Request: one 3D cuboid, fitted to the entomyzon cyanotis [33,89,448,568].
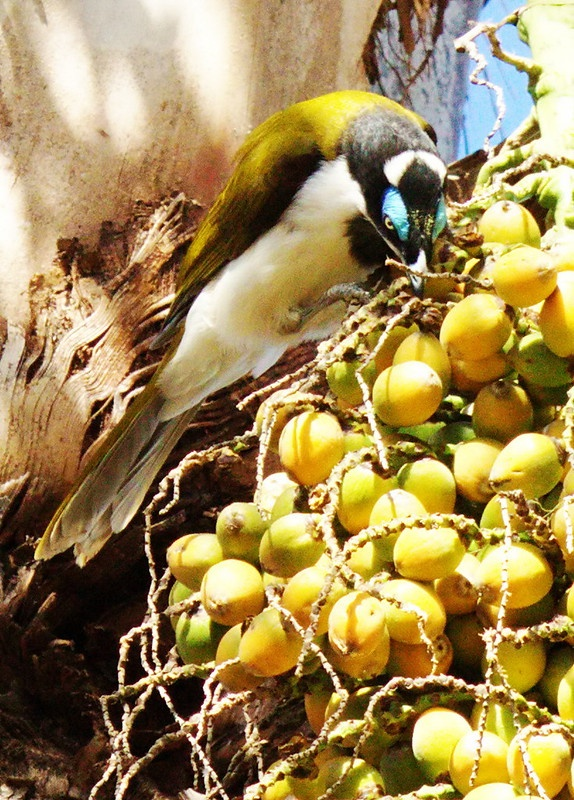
[{"bbox_3d":[-0.071,-0.092,1.902,0.615,0.205,0.270,-39,33,17],"label":"entomyzon cyanotis"}]
